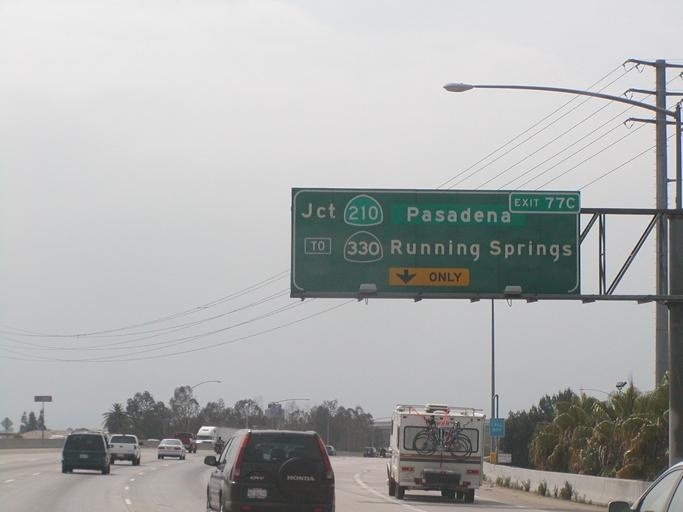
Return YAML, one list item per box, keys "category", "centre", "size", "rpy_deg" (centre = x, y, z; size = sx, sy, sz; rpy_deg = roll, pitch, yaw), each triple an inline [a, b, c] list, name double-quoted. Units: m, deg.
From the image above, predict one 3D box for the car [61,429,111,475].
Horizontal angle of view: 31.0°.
- category: "car"
  centre: [-11.789, 9.092, 57.050]
  size: [2.091, 1.896, 1.437]
  rpy_deg: [5, -12, -14]
